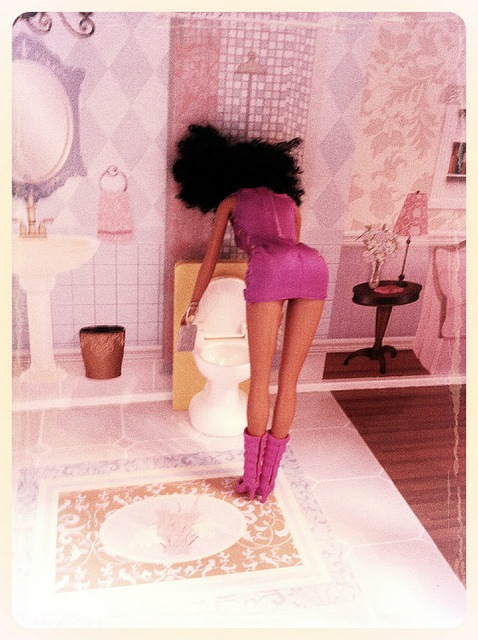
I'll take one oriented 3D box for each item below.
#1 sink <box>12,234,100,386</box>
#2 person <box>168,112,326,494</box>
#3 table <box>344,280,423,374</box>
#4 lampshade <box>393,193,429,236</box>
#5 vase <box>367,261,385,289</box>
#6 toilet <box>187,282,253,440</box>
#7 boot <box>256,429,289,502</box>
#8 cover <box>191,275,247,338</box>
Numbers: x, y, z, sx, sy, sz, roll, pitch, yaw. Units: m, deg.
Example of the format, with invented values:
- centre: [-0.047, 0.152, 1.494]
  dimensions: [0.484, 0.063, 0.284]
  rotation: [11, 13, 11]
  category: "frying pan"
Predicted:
- centre: [-0.923, -0.044, 2.380]
  dimensions: [0.538, 0.640, 0.551]
  rotation: [-2, 2, -15]
  category: "sink"
- centre: [-0.013, -0.087, 2.020]
  dimensions: [0.602, 1.303, 0.843]
  rotation: [5, 20, -9]
  category: "person"
- centre: [0.707, 0.034, 2.671]
  dimensions: [0.331, 0.514, 0.133]
  rotation: [1, 21, -21]
  category: "table"
- centre: [0.815, -0.511, 2.457]
  dimensions: [0.165, 0.197, 0.110]
  rotation: [0, 25, -3]
  category: "lampshade"
- centre: [0.673, -0.224, 2.572]
  dimensions: [0.060, 0.135, 0.039]
  rotation: [9, 20, 0]
  category: "vase"
- centre: [-0.061, 0.164, 2.211]
  dimensions: [0.303, 0.569, 0.398]
  rotation: [4, 24, -1]
  category: "toilet"
- centre: [0.108, 0.522, 1.870]
  dimensions: [0.097, 0.240, 0.107]
  rotation: [2, 23, -25]
  category: "boot"
- centre: [-0.071, -0.050, 2.227]
  dimensions: [0.257, 0.255, 0.084]
  rotation: [1, 27, -9]
  category: "cover"
